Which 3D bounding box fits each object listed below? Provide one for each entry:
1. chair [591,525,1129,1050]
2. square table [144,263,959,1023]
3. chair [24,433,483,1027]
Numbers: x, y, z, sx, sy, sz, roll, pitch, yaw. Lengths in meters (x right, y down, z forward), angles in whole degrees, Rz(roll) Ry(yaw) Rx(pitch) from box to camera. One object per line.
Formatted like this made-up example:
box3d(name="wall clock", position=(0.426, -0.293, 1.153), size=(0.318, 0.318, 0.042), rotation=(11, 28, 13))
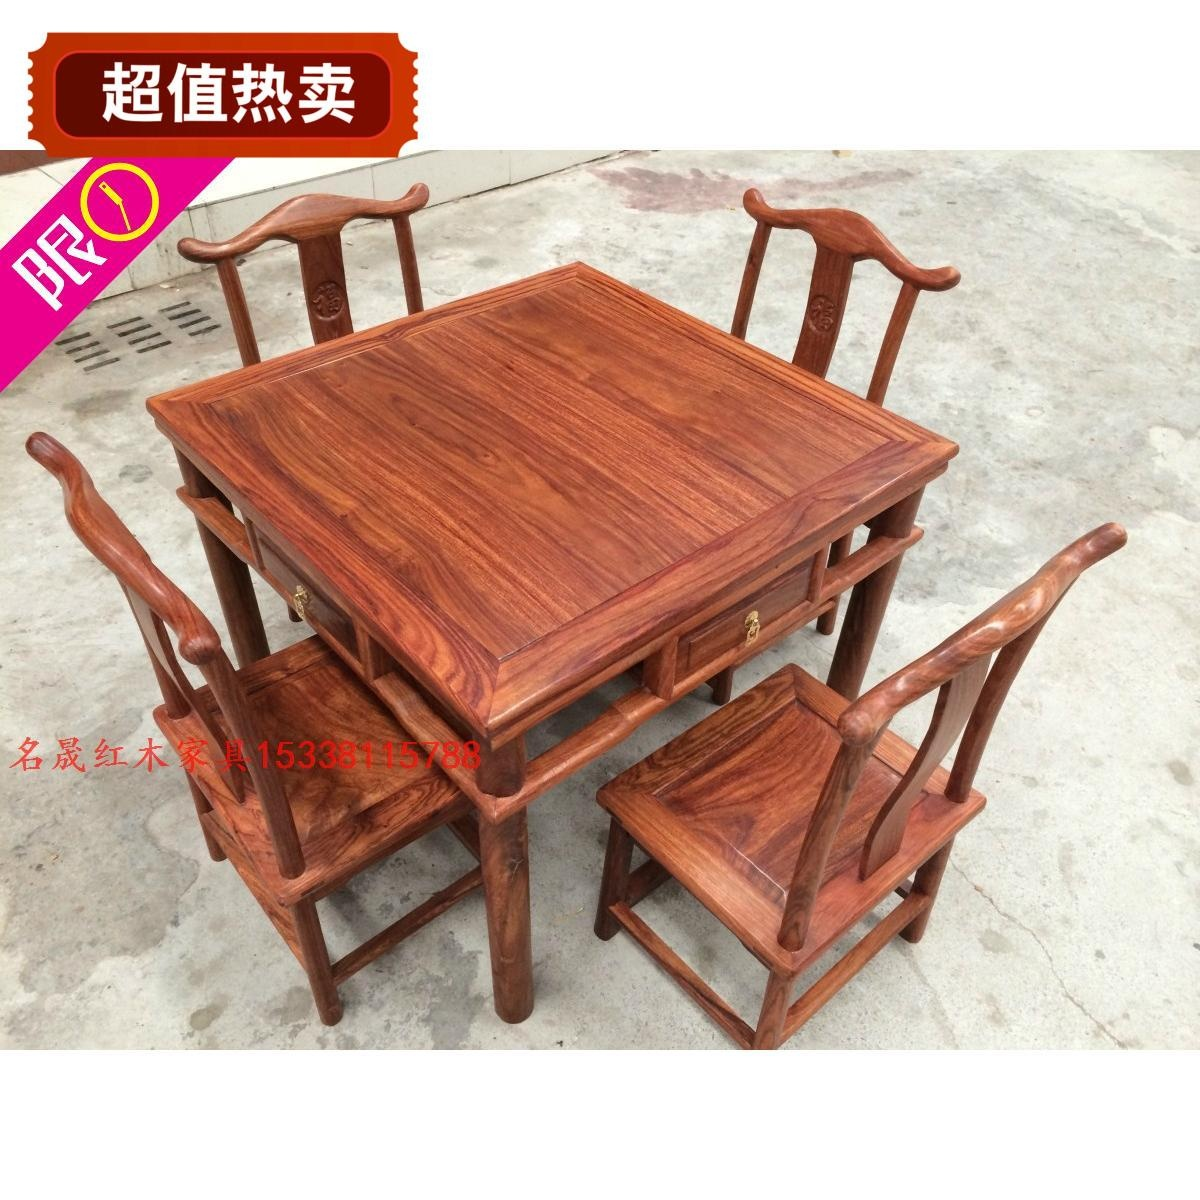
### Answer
box3d(name="chair", position=(0.330, 0.296, 1.682), size=(0.551, 1.127, 0.460), rotation=(-31, 52, -32))
box3d(name="square table", position=(-0.240, 0.005, 2.597), size=(1.667, 1.143, 1.575), rotation=(-31, 57, -24))
box3d(name="chair", position=(-0.646, 0.296, 1.890), size=(0.572, 1.171, 0.640), rotation=(-35, 72, -19))
